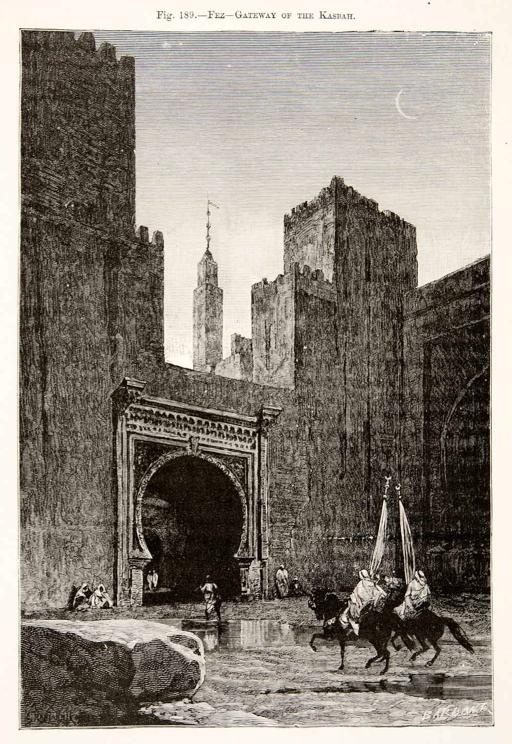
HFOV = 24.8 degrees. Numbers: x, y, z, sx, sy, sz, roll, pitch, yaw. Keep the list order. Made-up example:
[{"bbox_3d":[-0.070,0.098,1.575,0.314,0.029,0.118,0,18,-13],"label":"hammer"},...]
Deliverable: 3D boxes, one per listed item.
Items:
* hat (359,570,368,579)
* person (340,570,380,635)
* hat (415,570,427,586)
[{"bbox_3d":[0.832,1.575,8.971,0.042,0.068,0.057,9,-41,-11],"label":"hat"},{"bbox_3d":[0.818,1.705,9.000,0.344,0.255,0.762,38,-24,23],"label":"person"},{"bbox_3d":[1.276,1.604,8.970,0.062,0.119,0.042,-10,-8,-19],"label":"hat"}]
